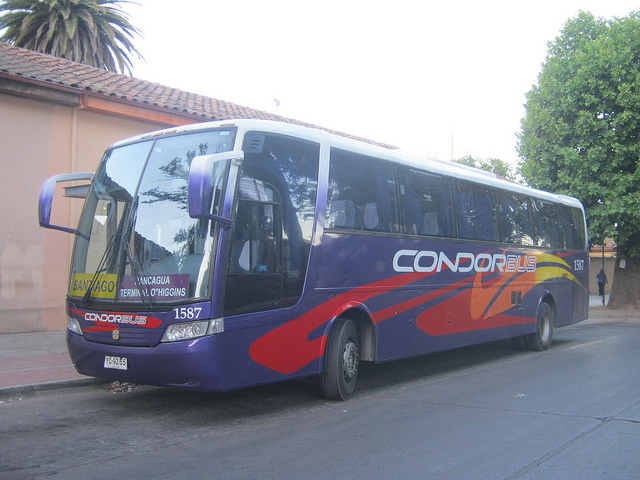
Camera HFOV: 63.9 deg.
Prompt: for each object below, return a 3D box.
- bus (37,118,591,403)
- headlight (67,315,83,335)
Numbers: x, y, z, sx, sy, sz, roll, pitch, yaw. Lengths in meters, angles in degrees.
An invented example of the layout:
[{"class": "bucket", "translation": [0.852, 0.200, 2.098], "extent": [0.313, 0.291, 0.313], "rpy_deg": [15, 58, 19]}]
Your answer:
[{"class": "bus", "translation": [2.080, 0.578, 12.217], "extent": [3.771, 4.538, 14.984], "rpy_deg": [-2, -4, 45]}, {"class": "headlight", "translation": [-3.526, 1.214, 7.384], "extent": [0.210, 0.313, 0.117], "rpy_deg": [3, 4, 31]}]
